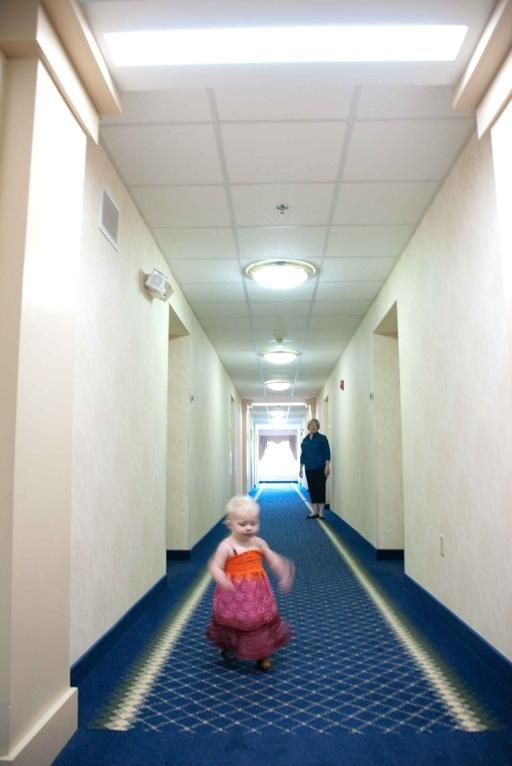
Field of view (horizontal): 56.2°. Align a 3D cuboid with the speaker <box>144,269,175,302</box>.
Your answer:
[{"bbox_3d":[-0.752,-0.741,3.747,0.175,0.191,0.186,35,-39,-16],"label":"speaker"}]

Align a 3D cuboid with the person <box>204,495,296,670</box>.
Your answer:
[{"bbox_3d":[-0.033,0.988,2.460,0.440,0.806,0.836,0,-10,1],"label":"person"}]

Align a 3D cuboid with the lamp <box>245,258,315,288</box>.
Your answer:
[{"bbox_3d":[0.235,-1.051,4.610,0.713,0.149,0.447,-1,-12,1],"label":"lamp"}]

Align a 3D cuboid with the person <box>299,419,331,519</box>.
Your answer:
[{"bbox_3d":[1.186,1.693,9.613,0.557,1.937,1.475,-1,-10,7],"label":"person"}]
